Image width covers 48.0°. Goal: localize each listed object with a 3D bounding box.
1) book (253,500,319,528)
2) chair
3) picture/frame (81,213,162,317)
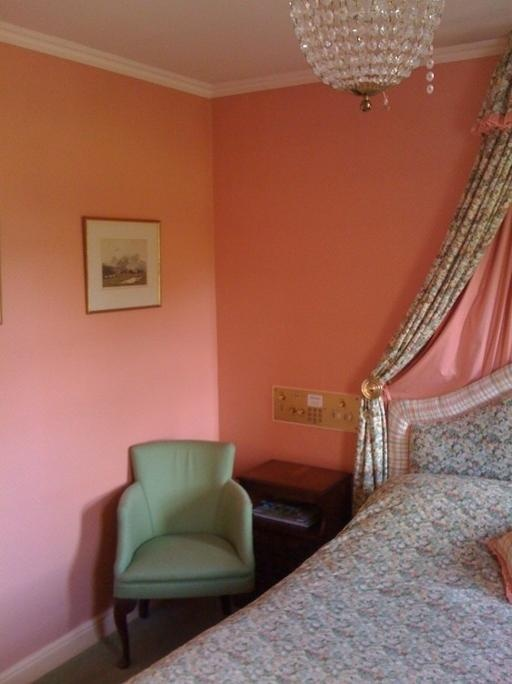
[{"bbox_3d":[0.175,0.978,3.253,0.227,0.049,0.223,3,5,22],"label":"book"},{"bbox_3d":[-0.356,1.042,2.986,0.804,0.866,0.802,3,6,19],"label":"chair"},{"bbox_3d":[-0.708,-0.423,3.100,0.579,0.469,0.018,4,6,34],"label":"picture/frame"}]
